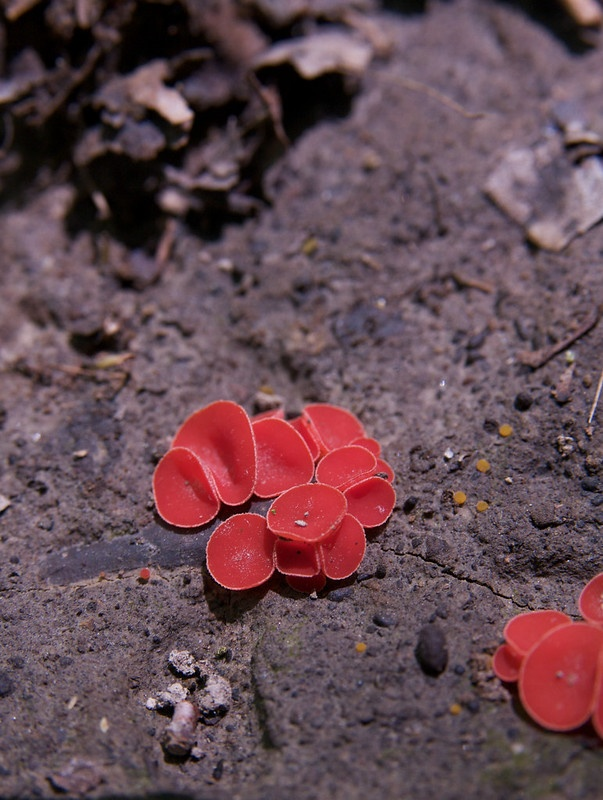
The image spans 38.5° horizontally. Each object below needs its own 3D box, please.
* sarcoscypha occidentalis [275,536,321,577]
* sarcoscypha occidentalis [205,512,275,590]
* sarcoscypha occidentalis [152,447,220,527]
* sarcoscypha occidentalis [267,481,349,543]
[{"bbox_3d":[-0.017,0.541,2.970,0.163,0.077,0.116,7,80,0],"label":"sarcoscypha occidentalis"},{"bbox_3d":[-0.217,0.527,3.029,0.240,0.071,0.254,-1,80,-2],"label":"sarcoscypha occidentalis"},{"bbox_3d":[-0.439,0.341,3.216,0.268,0.113,0.292,3,77,7],"label":"sarcoscypha occidentalis"},{"bbox_3d":[0.016,0.381,2.975,0.234,0.143,0.221,24,81,2],"label":"sarcoscypha occidentalis"}]
